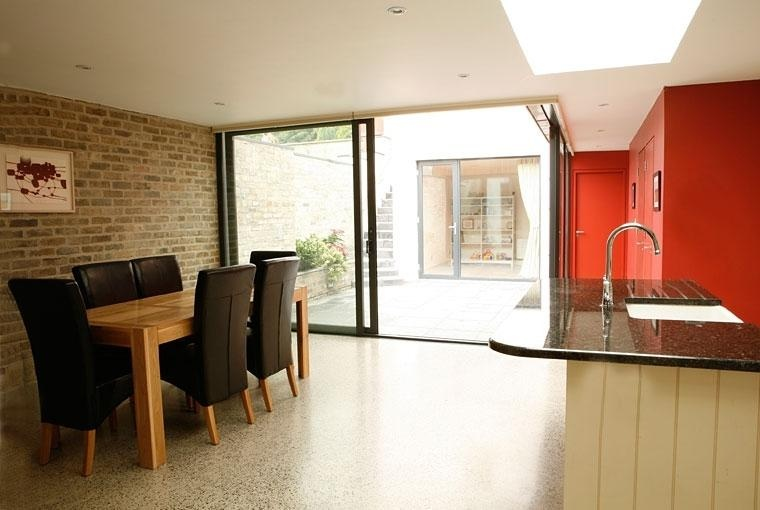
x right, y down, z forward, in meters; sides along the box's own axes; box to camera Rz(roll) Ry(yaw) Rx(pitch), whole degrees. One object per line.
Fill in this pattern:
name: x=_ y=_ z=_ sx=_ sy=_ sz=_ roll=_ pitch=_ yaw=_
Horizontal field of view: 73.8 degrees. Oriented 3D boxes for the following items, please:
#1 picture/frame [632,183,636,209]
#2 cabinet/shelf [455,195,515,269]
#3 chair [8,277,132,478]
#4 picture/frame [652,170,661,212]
picture/frame: x=3.852 y=-0.899 z=7.693 sx=0.037 sy=0.382 sz=0.380 roll=1 pitch=7 yaw=27
cabinet/shelf: x=2.211 y=-0.435 z=10.384 sx=1.460 sy=1.683 sz=0.437 roll=-1 pitch=-3 yaw=21
chair: x=-2.177 y=0.822 z=3.548 sx=0.726 sy=1.341 sz=0.379 roll=-1 pitch=10 yaw=2
picture/frame: x=2.897 y=-0.657 z=5.305 sx=0.031 sy=0.468 sz=0.465 roll=1 pitch=5 yaw=23
